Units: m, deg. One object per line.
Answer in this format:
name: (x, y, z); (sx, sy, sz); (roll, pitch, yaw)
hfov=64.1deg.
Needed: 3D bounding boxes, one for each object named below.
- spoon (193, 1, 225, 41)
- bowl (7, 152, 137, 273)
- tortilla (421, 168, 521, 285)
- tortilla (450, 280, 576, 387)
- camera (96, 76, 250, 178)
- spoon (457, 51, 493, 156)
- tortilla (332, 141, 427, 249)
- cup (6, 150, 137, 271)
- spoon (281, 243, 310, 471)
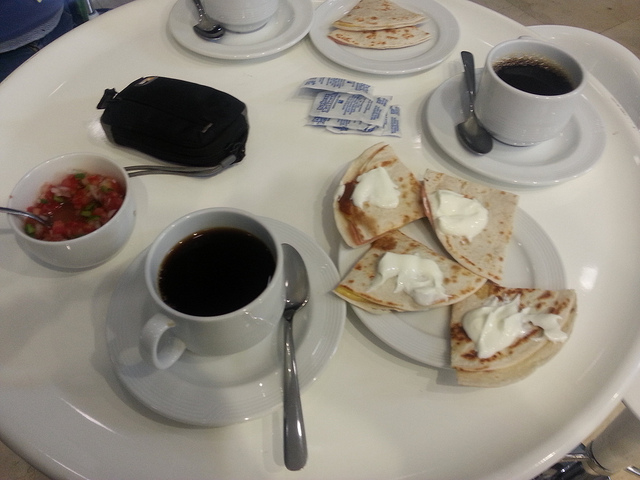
spoon: (-0.304, -0.588, 1.354); (0.053, 0.022, 0.160); (-11, 52, -16)
bowl: (-0.497, -0.061, 1.075); (0.235, 0.143, 0.246); (5, 59, -7)
tortilla: (0.310, -0.032, 1.042); (0.219, 0.043, 0.216); (6, 59, -7)
tortilla: (0.351, 0.153, 0.951); (0.280, 0.033, 0.176); (-23, 52, 1)
camera: (-0.327, -0.259, 1.164); (0.321, 0.089, 0.243); (-3, 74, 2)
spoon: (0.347, -0.289, 1.147); (0.069, 0.277, 0.037); (12, 57, 34)
tortilla: (0.100, -0.077, 1.112); (0.237, 0.184, 0.288); (-4, 36, -8)
cup: (-0.478, -0.058, 1.077); (0.211, 0.128, 0.266); (49, 57, 1)
spoon: (-0.041, 0.187, 0.879); (0.049, 0.047, 0.388); (-3, 74, 3)
